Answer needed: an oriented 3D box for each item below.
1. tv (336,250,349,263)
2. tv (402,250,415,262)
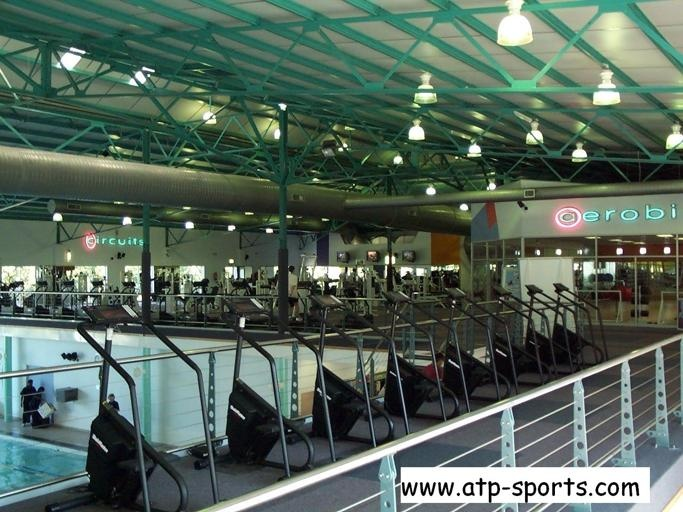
[{"bbox_3d":[0.046,0.046,29.302,0.649,0.490,0.624,-3,-7,30],"label":"tv"},{"bbox_3d":[3.146,0.034,27.498,0.818,0.560,0.545,-1,-7,22],"label":"tv"}]
